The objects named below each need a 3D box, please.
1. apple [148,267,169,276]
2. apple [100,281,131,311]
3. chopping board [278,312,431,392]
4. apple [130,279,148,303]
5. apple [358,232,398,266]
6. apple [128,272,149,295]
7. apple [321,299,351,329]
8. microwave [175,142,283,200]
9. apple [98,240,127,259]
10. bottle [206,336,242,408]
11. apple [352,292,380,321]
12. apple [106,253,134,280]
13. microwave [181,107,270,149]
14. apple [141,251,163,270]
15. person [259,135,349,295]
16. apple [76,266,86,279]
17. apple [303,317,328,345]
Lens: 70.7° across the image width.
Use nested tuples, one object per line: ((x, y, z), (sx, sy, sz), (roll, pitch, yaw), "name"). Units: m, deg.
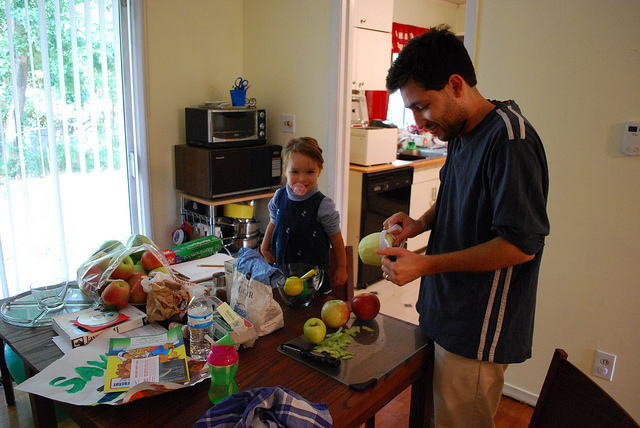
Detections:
((-0.766, 0.261, 2.149), (0.052, 0.053, 0.064), (-3, -36, 32), "apple")
((-0.905, 0.353, 2.032), (0.120, 0.150, 0.123), (4, -3, 11), "apple")
((0.185, 0.542, 1.875), (0.279, 0.016, 0.358), (14, 22, 41), "chopping board")
((-0.835, 0.347, 2.081), (0.085, 0.115, 0.040), (-3, 12, -1), "apple")
((0.269, 0.131, 2.046), (0.184, 0.142, 0.156), (-1, -3, 43), "apple")
((-0.828, 0.316, 2.087), (0.092, 0.094, 0.098), (-7, 24, -34), "apple")
((0.068, 0.434, 1.982), (0.127, 0.121, 0.122), (-16, 14, -43), "apple")
((-0.811, -0.365, 3.637), (0.699, 0.402, 0.475), (-12, 20, -42), "microwave")
((-1.005, 0.161, 2.208), (0.082, 0.118, 0.106), (10, -1, 22), "apple")
((-0.358, 0.559, 1.663), (0.108, 0.274, 0.107), (2, 10, 0), "bottle")
((0.202, 0.406, 2.030), (0.128, 0.127, 0.129), (-2, 10, -10), "apple")
((-0.914, 0.242, 2.115), (0.112, 0.117, 0.113), (3, -6, -4), "apple")
((-0.826, -0.703, 3.600), (0.534, 0.310, 0.395), (-11, 18, -43), "microwave")
((-0.823, 0.224, 2.222), (0.082, 0.082, 0.080), (3, 13, 7), "apple")
((-0.121, 0.025, 2.780), (0.559, 0.951, 0.323), (-2, 12, 4), "person")
((-1.137, 0.276, 2.156), (0.046, 0.050, 0.018), (0, -9, 6), "apple")
((-0.021, 0.491, 1.898), (0.097, 0.096, 0.102), (13, 25, 31), "apple")
